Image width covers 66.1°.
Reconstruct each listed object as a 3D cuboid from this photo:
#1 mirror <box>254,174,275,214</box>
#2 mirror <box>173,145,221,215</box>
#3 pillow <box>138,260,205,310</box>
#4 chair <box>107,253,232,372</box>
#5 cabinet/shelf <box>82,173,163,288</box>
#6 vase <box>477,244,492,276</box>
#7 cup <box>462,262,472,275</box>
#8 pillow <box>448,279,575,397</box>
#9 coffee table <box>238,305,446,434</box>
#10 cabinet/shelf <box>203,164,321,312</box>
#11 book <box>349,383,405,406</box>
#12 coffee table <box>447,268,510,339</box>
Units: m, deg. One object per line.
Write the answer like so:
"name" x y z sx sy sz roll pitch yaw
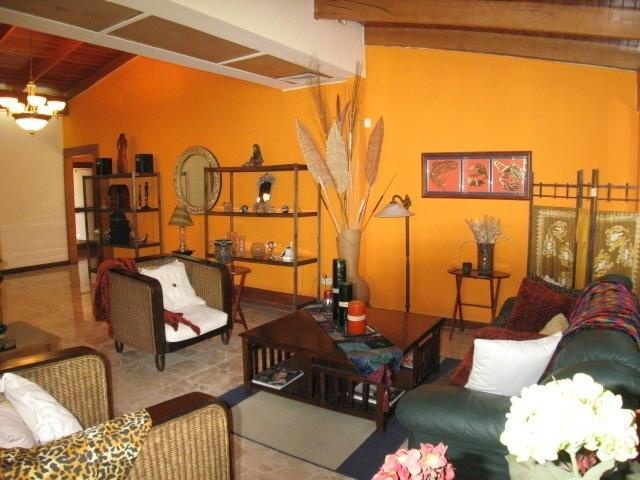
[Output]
"mirror" -0.691 -0.590 6.053 0.245 0.410 0.462 -2 14 2
"mirror" -1.771 -0.853 6.832 0.052 0.938 1.019 2 12 19
"pillow" -1.400 0.453 4.700 0.143 0.474 0.488 -26 -2 37
"chair" -1.406 0.558 4.714 1.009 1.014 1.068 4 8 37
"cabinet/shelf" -2.784 -0.202 7.021 1.861 2.011 0.580 3 5 38
"vase" 1.628 0.154 4.858 0.129 0.297 0.318 1 14 15
"cup" 1.456 0.274 4.887 0.107 0.112 0.106 1 -1 0
"pillow" 1.332 0.570 3.381 0.769 0.725 0.783 1 3 19
"coffee table" 0.322 0.890 3.849 0.971 0.376 0.970 3 5 32
"cabinet/shelf" -0.640 -0.026 5.916 1.826 2.021 0.635 4 6 36
"book" 0.417 1.117 3.559 0.240 0.058 0.247 1 -1 32
"coffee table" 1.574 0.604 4.835 0.608 0.593 0.408 9 20 29
